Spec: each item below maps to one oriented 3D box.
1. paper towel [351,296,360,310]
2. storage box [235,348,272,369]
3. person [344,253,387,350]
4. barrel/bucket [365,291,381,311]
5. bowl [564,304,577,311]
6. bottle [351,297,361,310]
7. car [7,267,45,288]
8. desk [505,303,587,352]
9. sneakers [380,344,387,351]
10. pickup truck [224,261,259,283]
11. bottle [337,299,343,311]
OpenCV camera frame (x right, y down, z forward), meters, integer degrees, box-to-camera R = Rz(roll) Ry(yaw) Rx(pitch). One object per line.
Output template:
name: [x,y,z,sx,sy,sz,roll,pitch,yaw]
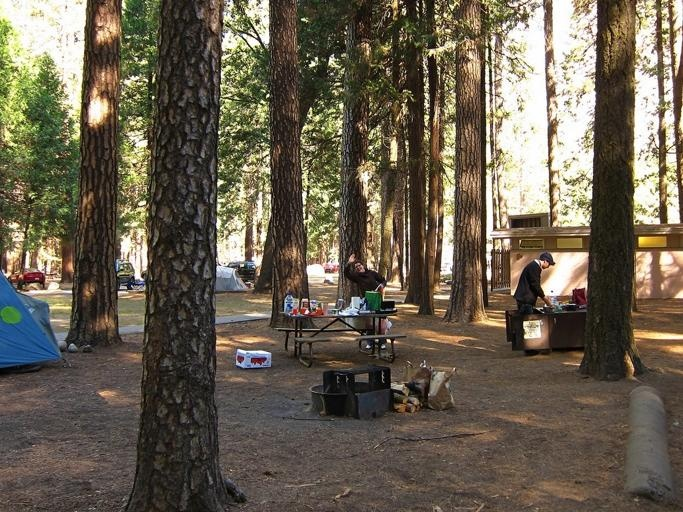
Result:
paper towel: [0.296,1.052,15.115,0.257,0.297,0.167,0,1,-17]
storage box: [-1.879,2.189,14.181,0.761,0.353,0.432,-1,-2,-7]
person: [0.578,0.816,16.289,0.770,0.596,2.078,10,-44,11]
barrel/bucket: [0.711,1.000,14.931,0.350,0.444,0.371,1,0,0]
bowl: [5.260,1.167,15.250,0.186,0.106,0.150,-1,-3,7]
bottle: [0.337,1.053,15.029,0.217,0.285,0.300,-1,-2,0]
car: [-18.942,1.297,39.921,0.994,0.799,2.054,0,5,-44]
desk: [4.577,1.619,14.887,1.359,0.539,1.039,-1,0,-6]
sneakers: [0.971,2.087,15.305,0.124,0.145,0.083,-1,1,11]
pickup truck: [-7.173,1.059,47.929,2.296,1.341,1.352,-4,3,-10]
bottle: [-0.010,1.111,15.582,0.169,0.311,0.176,1,2,0]
